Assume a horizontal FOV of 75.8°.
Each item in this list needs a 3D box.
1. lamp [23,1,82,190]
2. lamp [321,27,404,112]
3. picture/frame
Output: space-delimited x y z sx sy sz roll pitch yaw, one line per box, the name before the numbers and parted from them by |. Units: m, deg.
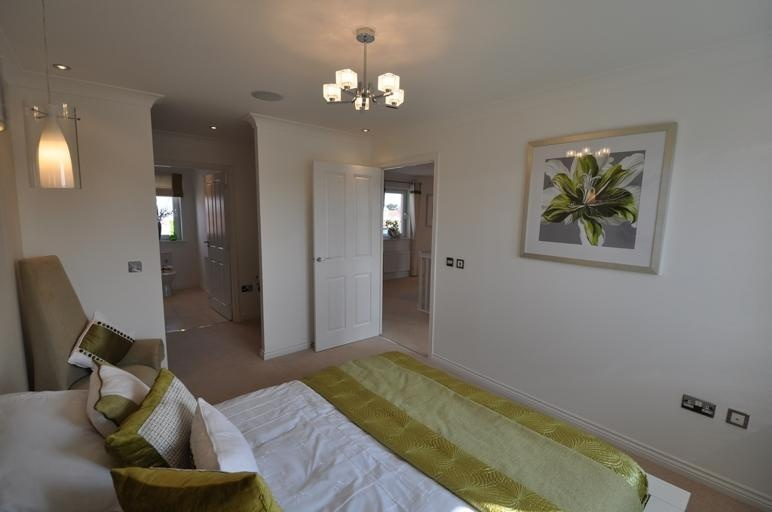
lamp | -2.475 -1.139 3.655 0.296 1.260 0.940 -5 9 -32
lamp | -0.167 -1.442 3.716 0.536 0.503 0.511 -3 3 -41
picture/frame | 1.818 -0.494 4.138 1.296 1.333 0.047 6 8 41
